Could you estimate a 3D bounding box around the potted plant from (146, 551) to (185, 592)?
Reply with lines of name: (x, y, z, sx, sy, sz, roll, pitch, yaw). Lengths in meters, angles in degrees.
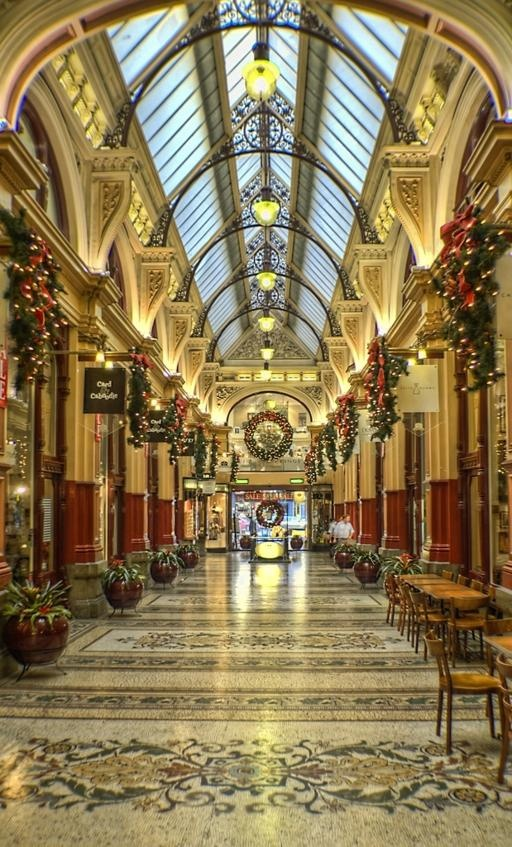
potted plant: (-2.271, 3.686, 14.535, 0.785, 0.924, 0.921, 0, -12, -3)

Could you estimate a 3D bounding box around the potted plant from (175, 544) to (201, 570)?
potted plant: (-2.180, 4.248, 18.421, 0.896, 1.064, 0.955, -1, -4, -4)

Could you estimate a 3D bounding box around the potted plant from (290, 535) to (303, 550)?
potted plant: (2.057, 6.152, 29.524, 0.608, 0.744, 0.788, -3, -12, 14)

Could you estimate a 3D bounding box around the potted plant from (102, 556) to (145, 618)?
potted plant: (-2.339, 2.859, 10.075, 0.563, 0.756, 0.697, -4, -9, 10)

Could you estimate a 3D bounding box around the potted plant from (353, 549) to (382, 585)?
potted plant: (2.795, 3.489, 14.085, 0.753, 0.900, 0.719, 9, -11, -33)
